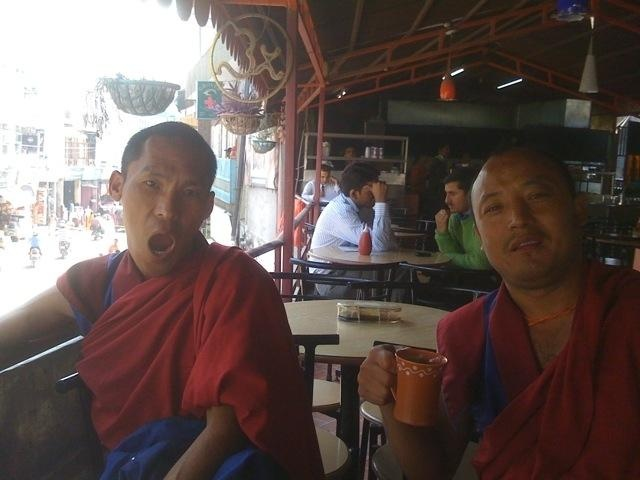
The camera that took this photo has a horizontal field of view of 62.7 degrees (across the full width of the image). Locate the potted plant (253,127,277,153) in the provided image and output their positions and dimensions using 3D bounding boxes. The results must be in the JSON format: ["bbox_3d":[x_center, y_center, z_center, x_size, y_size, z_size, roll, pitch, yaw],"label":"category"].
[{"bbox_3d":[-0.804,-1.426,7.619,0.387,0.293,0.427,4,19,28],"label":"potted plant"}]

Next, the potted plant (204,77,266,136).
[{"bbox_3d":[-0.822,-1.399,5.276,0.385,0.314,0.419,25,18,31],"label":"potted plant"}]

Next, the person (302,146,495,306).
[{"bbox_3d":[0.628,-0.072,4.525,1.417,1.060,0.965,2,-3,-5],"label":"person"}]

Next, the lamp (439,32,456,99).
[{"bbox_3d":[2.227,-2.976,9.142,0.242,1.130,0.249,11,24,34],"label":"lamp"}]

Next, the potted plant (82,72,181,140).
[{"bbox_3d":[-1.025,-0.801,3.026,0.424,0.180,0.440,-10,12,-40],"label":"potted plant"}]

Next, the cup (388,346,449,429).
[{"bbox_3d":[0.254,0.416,1.518,0.120,0.183,0.176,3,2,-34],"label":"cup"}]
